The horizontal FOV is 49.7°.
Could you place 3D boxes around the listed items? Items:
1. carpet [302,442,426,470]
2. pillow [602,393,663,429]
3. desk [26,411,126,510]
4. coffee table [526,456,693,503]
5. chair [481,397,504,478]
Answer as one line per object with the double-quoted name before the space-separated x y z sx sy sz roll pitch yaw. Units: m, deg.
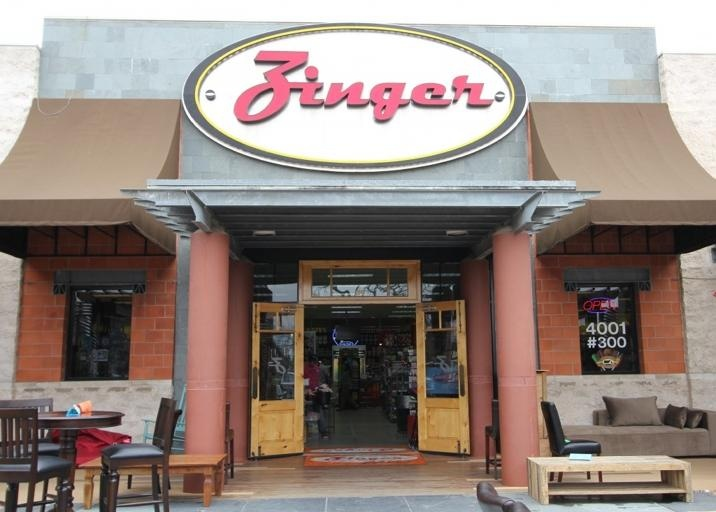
"carpet" 0.112 3.691 14.307 2.101 0.289 1.911 -1 -13 -3
"pillow" 4.985 2.799 13.939 0.982 0.529 0.664 -2 -11 9
"desk" -3.933 2.762 10.903 0.995 1.441 0.943 -10 -16 37
"coffee table" 3.676 3.303 11.567 2.342 0.649 1.452 -1 -13 -2
"chair" 2.325 3.079 13.123 0.559 1.190 0.423 -5 -6 3
